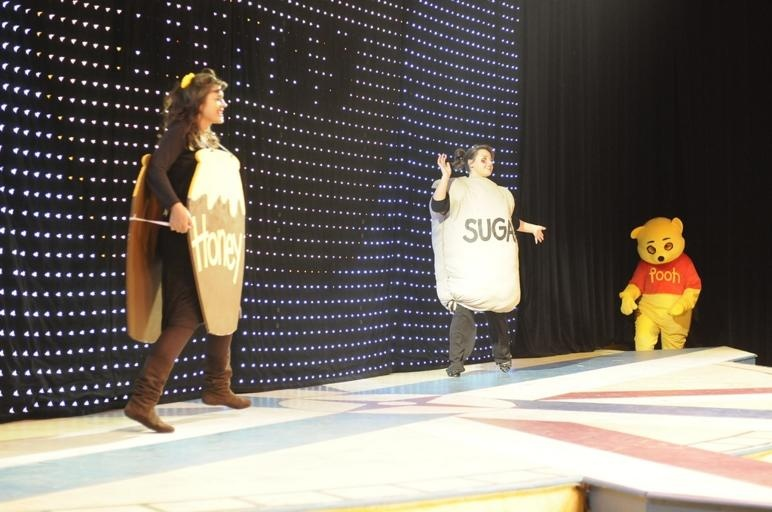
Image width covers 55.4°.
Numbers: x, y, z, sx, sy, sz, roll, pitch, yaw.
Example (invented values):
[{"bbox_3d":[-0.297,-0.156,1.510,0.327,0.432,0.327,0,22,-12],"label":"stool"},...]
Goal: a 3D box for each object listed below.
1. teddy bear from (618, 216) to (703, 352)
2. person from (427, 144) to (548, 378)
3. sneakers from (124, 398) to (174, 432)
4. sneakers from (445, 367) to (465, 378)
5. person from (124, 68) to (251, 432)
[{"bbox_3d":[2.316,0.333,6.169,0.602,1.382,0.459,-5,23,9],"label":"teddy bear"},{"bbox_3d":[0.617,0.015,4.888,0.688,1.506,0.471,1,0,-11],"label":"person"},{"bbox_3d":[-1.143,0.774,3.538,0.232,0.157,0.078,32,-10,-16],"label":"sneakers"},{"bbox_3d":[0.461,0.756,4.816,0.109,0.067,0.170,2,0,6],"label":"sneakers"},{"bbox_3d":[-1.014,-0.064,3.594,0.341,1.598,0.433,2,0,13],"label":"person"}]
